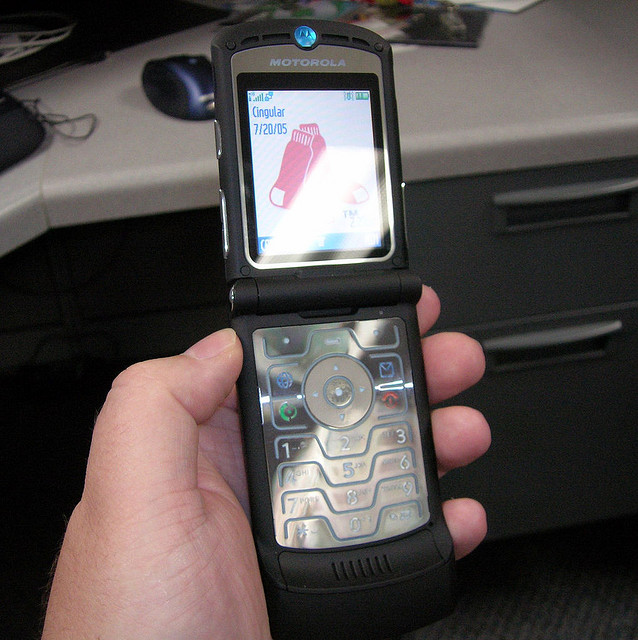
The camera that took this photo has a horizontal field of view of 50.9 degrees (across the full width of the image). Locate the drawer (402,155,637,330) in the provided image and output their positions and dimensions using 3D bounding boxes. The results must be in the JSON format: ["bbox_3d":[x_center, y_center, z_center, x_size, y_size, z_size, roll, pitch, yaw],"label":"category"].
[{"bbox_3d":[0.249,-0.097,0.898,0.410,0.194,0.092,-10,10,-8],"label":"drawer"}]
